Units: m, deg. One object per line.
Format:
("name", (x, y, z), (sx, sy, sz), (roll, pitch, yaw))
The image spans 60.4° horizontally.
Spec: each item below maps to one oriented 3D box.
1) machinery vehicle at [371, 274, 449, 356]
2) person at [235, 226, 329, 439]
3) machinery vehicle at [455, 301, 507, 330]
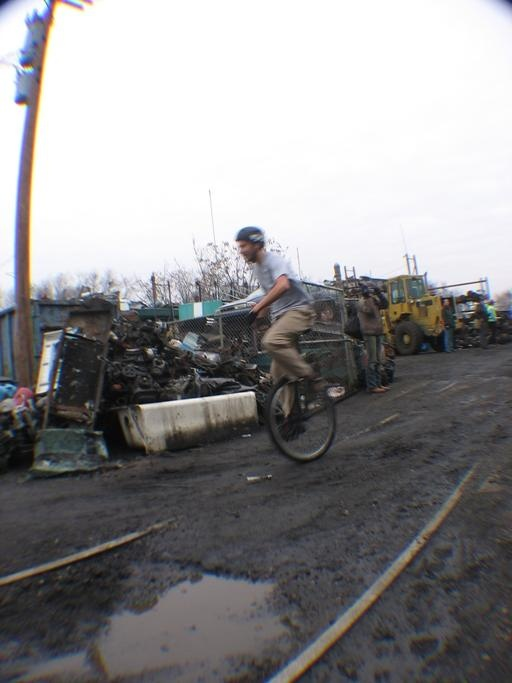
("machinery vehicle", (5.424, -0.772, 15.276), (2.724, 4.296, 3.781), (-1, 4, 17))
("person", (0.236, -0.066, 3.782), (0.693, 1.824, 0.552), (-4, 3, -20))
("machinery vehicle", (9.771, -1.036, 19.254), (1.851, 0.908, 1.658), (-5, -2, -5))
